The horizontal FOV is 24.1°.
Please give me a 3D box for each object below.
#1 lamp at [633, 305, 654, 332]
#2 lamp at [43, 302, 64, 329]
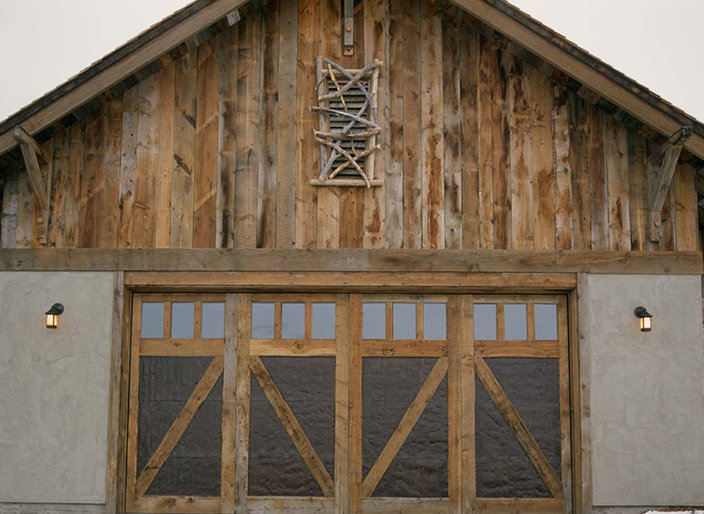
[{"bbox_3d":[3.599,0.720,20.035,0.196,0.321,0.159,-6,-24,15],"label":"lamp"},{"bbox_3d":[-3.626,0.680,20.016,0.239,0.313,0.210,3,-24,-6],"label":"lamp"}]
